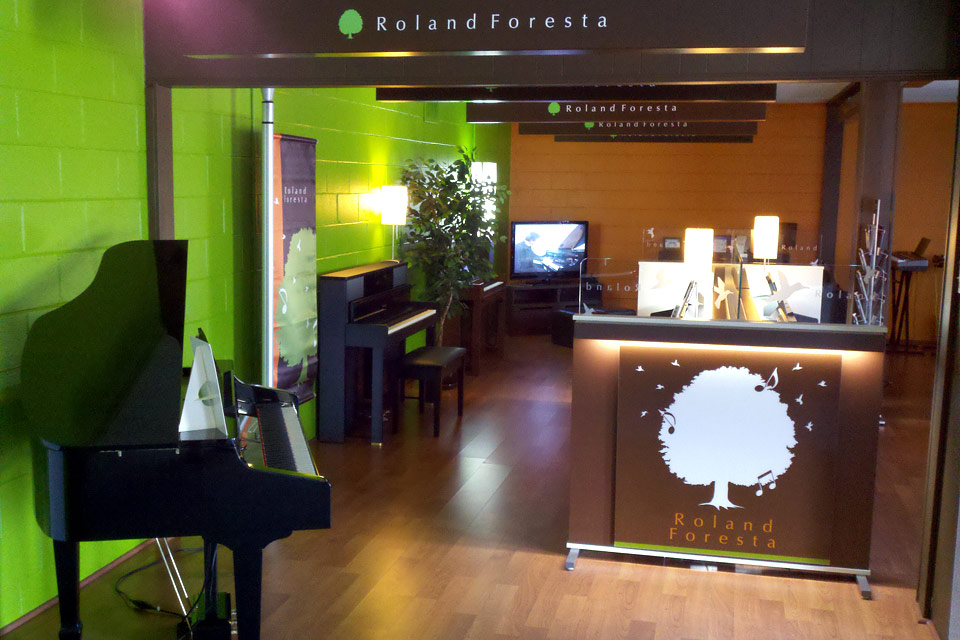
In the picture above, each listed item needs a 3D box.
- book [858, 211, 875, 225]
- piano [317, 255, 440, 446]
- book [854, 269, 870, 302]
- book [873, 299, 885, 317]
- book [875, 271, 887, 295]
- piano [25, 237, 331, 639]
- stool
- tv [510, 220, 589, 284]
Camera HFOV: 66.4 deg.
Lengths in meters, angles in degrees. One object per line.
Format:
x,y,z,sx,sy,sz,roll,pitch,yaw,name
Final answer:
4.291,-1.156,8.132,0.068,0.162,0.828,6,13,22,book
-1.081,0.356,7.456,0.676,1.616,1.780,2,8,12,piano
2.581,-0.236,4.924,0.063,0.178,0.177,-1,8,9,book
2.670,-0.082,4.899,0.082,0.113,0.027,2,0,18,book
2.706,-0.248,4.938,0.092,0.158,0.046,2,-10,18,book
-2.034,0.535,5.051,2.178,2.872,1.966,-1,4,-9,piano
-0.550,0.730,7.986,0.558,0.792,0.953,3,8,14,stool
1.054,-1.105,11.881,1.405,1.004,0.204,0,0,-9,tv
